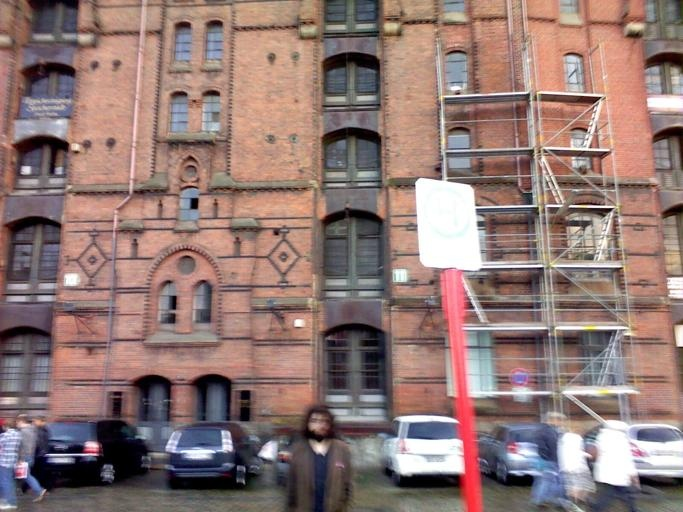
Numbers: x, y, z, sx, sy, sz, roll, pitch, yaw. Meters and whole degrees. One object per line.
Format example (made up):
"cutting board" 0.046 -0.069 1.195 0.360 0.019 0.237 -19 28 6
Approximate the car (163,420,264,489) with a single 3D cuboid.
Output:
"car" -4.782 7.444 33.865 3.487 2.436 1.680 4 -16 -20

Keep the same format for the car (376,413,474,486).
"car" 3.059 7.229 33.769 2.810 2.583 1.680 -3 -15 5
